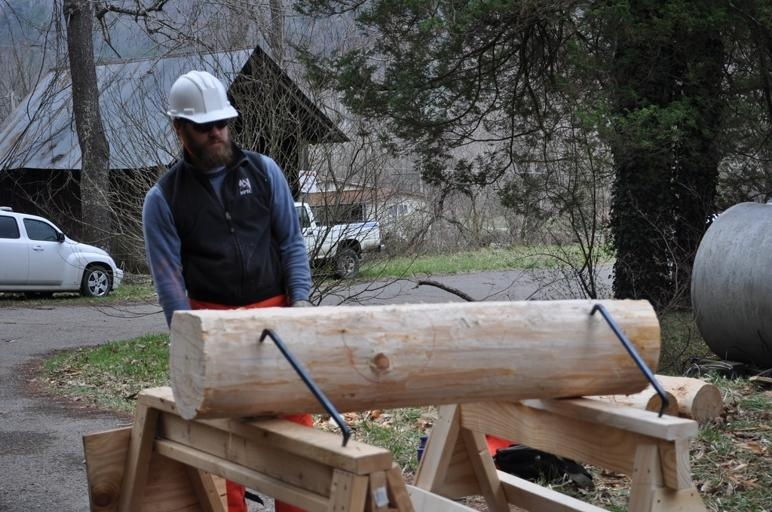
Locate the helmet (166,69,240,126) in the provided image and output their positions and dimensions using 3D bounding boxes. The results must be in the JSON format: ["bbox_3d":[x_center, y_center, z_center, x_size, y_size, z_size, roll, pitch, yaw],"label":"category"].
[{"bbox_3d":[-1.235,-1.062,4.540,0.434,0.335,0.561,-16,18,-29],"label":"helmet"}]

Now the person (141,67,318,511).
[{"bbox_3d":[-1.038,-0.417,4.469,1.038,1.582,0.489,-5,9,-21],"label":"person"}]
